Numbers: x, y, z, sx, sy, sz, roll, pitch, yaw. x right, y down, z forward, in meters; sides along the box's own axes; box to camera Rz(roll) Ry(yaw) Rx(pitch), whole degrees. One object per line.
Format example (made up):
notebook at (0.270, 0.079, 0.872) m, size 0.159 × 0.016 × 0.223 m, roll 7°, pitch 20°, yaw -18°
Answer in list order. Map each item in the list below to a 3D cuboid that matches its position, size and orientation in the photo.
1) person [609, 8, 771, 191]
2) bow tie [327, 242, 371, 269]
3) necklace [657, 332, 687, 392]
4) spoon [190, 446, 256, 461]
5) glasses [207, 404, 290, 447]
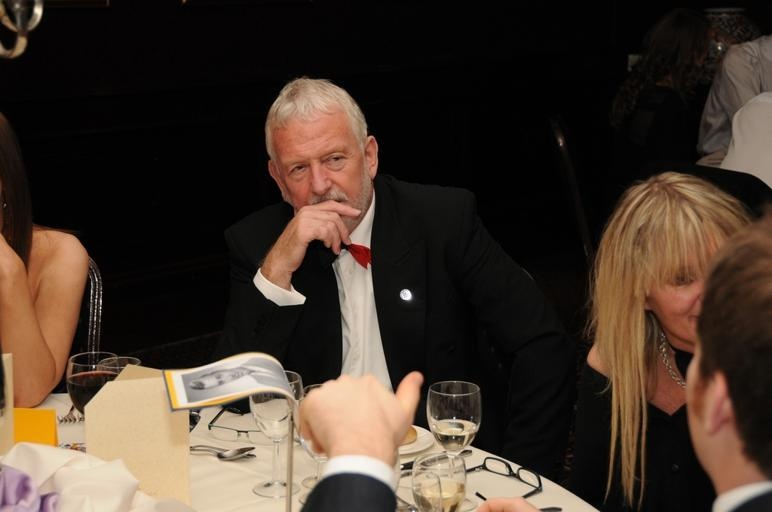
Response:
person at (1.641, -0.976, 4.007) m, size 0.351 × 0.958 × 0.660 m, roll 1°, pitch -6°, yaw -38°
bow tie at (-0.107, -0.005, 2.336) m, size 0.103 × 0.034 × 0.099 m, roll -35°, pitch -60°, yaw 26°
necklace at (0.802, 0.300, 1.888) m, size 0.102 × 0.136 × 0.024 m, roll -22°, pitch 0°, yaw -16°
spoon at (-0.441, 0.519, 1.734) m, size 0.120 × 0.020 × 0.062 m, roll 2°, pitch -4°, yaw 20°
glasses at (-0.422, 0.485, 1.828) m, size 0.166 × 0.043 × 0.167 m, roll 5°, pitch -7°, yaw 7°
